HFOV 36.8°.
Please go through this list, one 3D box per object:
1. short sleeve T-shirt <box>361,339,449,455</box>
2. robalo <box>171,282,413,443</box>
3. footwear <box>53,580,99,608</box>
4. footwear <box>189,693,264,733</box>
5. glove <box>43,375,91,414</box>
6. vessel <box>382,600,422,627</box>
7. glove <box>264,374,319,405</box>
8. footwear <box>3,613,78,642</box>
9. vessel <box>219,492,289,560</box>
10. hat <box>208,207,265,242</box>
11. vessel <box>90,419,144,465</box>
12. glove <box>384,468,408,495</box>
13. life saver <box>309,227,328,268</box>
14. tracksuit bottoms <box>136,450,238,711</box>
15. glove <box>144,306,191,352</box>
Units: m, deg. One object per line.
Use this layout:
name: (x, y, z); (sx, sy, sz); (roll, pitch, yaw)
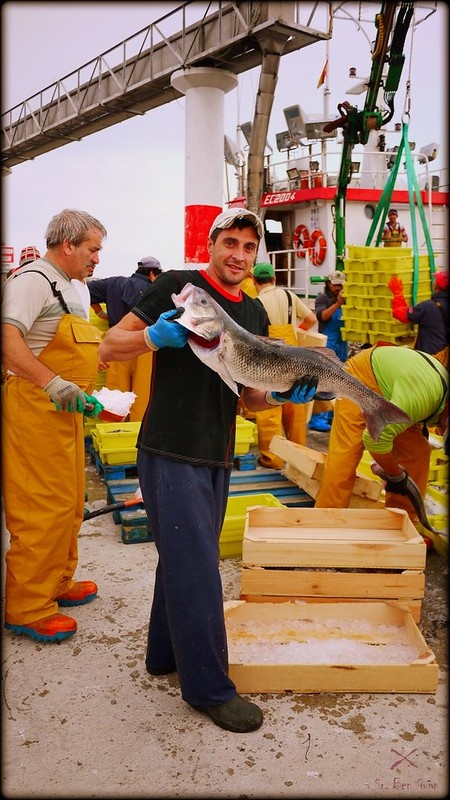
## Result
short sleeve T-shirt: (0.959, -0.034, 4.069); (0.349, 0.649, 0.597); (30, 1, 13)
robalo: (0.284, -0.135, 2.783); (0.140, 0.660, 1.377); (9, 13, 39)
footwear: (-0.845, 1.119, 3.924); (0.257, 0.127, 0.100); (-12, 13, -27)
footwear: (0.034, 1.283, 2.791); (0.234, 0.104, 0.115); (-1, -3, 11)
glove: (-0.755, -0.019, 3.216); (0.067, 0.128, 0.218); (1, -31, 40)
vessel: (0.930, 1.086, 3.481); (0.133, 0.089, 0.143); (1, -7, 1)
glove: (0.301, -0.050, 2.838); (0.156, 0.057, 0.118); (-8, -1, -14)
footwear: (-0.945, 1.179, 3.503); (0.347, 0.173, 0.138); (0, 3, 0)
vessel: (0.117, 0.853, 4.536); (0.337, 0.209, 0.490); (0, 8, 2)
hat: (0.049, -0.710, 2.714); (0.220, 0.124, 0.244); (0, 10, -6)
vessel: (-0.938, 0.366, 5.812); (0.406, 0.241, 0.559); (1, 12, -16)
glove: (1.062, 0.510, 4.256); (0.130, 0.151, 0.166); (0, -12, 8)
life saver: (1.838, -3.005, 13.529); (0.196, 0.691, 0.475); (-3, 11, -21)
tracksuit bottoms: (-0.153, 0.743, 2.853); (0.364, 1.100, 0.507); (-3, 11, -20)
glove: (-0.205, -0.243, 2.362); (0.142, 0.145, 0.167); (-2, 10, -13)
